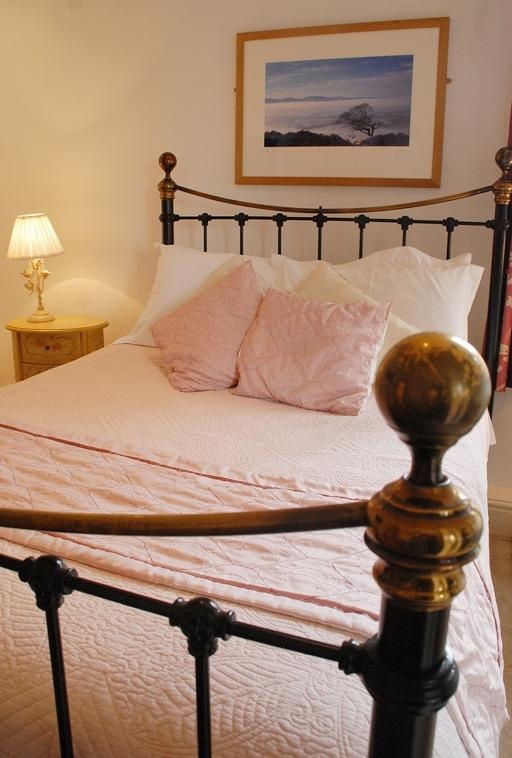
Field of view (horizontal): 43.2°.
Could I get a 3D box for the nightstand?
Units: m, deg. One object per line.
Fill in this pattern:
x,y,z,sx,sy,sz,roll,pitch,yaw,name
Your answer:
-0.846,-0.164,2.912,0.441,0.390,0.306,-2,26,-9,nightstand
